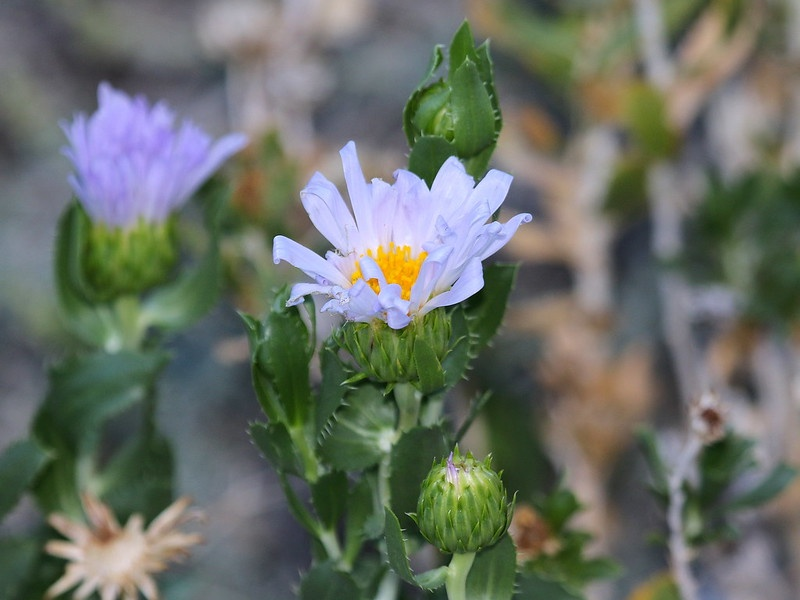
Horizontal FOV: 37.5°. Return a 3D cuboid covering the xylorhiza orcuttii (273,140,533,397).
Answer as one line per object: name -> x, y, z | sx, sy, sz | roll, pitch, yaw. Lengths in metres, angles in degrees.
xylorhiza orcuttii -> -0.002, 0.017, 0.907 | 0.144, 0.146, 0.158 | -2, 90, 23

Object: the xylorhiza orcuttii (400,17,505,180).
xylorhiza orcuttii -> 0.052, -0.165, 0.930 | 0.087, 0.101, 0.107 | -1, 14, 10

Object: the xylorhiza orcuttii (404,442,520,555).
xylorhiza orcuttii -> 0.049, 0.154, 0.885 | 0.063, 0.069, 0.078 | -7, 86, 15

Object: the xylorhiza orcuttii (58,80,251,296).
xylorhiza orcuttii -> -0.229, -0.107, 1.022 | 0.146, 0.189, 0.126 | 32, 33, 21
